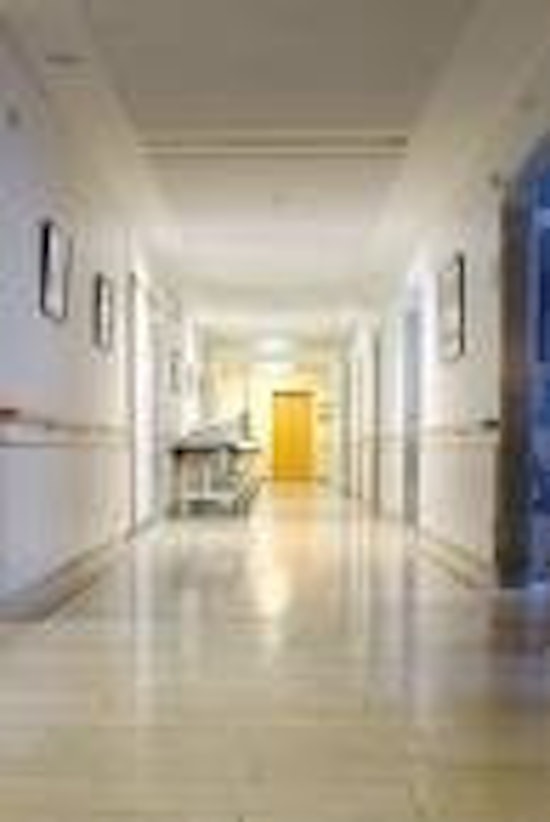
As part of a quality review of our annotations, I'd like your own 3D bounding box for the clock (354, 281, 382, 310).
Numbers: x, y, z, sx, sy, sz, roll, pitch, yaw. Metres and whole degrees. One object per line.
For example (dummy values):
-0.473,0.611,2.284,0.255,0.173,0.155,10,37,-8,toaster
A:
1.236,-1.523,7.702,0.308,0.317,0.306,0,-6,-1,clock
